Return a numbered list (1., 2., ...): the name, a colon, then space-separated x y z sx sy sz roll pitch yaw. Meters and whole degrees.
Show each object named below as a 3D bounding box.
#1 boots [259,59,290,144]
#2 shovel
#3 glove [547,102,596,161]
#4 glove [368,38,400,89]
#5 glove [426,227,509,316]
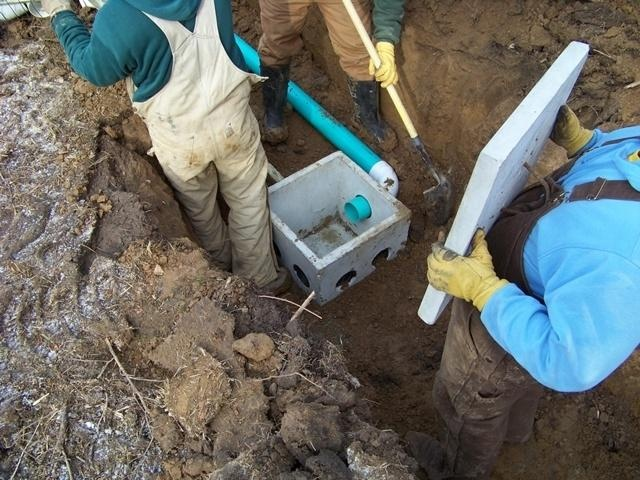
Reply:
1. boots: -0.443 -1.359 5.296 0.306 0.925 0.315 -38 73 -16
2. shovel: 0.733 -1.129 4.799 0.189 2.594 0.529 -22 29 10
3. glove: 1.679 -0.738 3.565 0.504 0.286 0.252 3 49 -52
4. glove: 0.519 -1.421 4.370 0.226 0.158 0.420 17 63 -20
5. glove: 0.824 0.217 3.013 0.329 0.172 0.460 -44 49 2
